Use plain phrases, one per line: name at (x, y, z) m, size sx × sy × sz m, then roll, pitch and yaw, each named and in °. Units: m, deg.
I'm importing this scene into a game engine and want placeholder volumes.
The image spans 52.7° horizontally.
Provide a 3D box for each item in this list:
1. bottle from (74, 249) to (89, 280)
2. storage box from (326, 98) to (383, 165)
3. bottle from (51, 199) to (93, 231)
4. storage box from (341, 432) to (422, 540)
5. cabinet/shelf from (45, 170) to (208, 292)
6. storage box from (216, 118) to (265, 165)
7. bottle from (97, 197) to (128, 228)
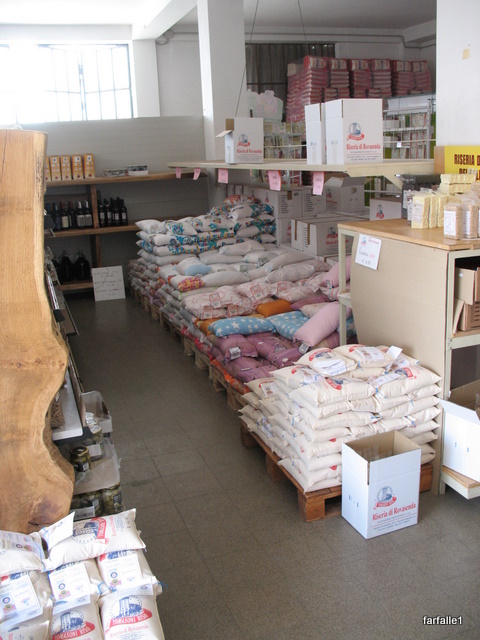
bottle at (-2.178, -0.746, 6.666) m, size 0.217 × 0.380 × 0.312 m, roll -10°, pitch 13°, yaw -17°
storage box at (0.594, -0.961, 2.469) m, size 0.354 × 0.381 × 0.207 m, roll -6°, pitch 9°, yaw -21°
bottle at (-2.268, -1.396, 6.456) m, size 0.610 × 0.384 × 0.453 m, roll -8°, pitch 13°, yaw -8°
storage box at (0.568, 0.647, 1.932) m, size 0.286 × 0.321 × 0.203 m, roll -8°, pitch 13°, yaw -29°
cabinet/shelf at (-1.578, -1.235, 6.887) m, size 2.178 × 1.496 × 0.883 m, roll -11°, pitch 13°, yaw -22°
storage box at (0.030, -1.442, 3.908) m, size 0.326 × 0.349 × 0.232 m, roll -5°, pitch 13°, yaw 5°
bottle at (-1.728, -1.449, 6.530) m, size 0.373 × 0.379 × 0.278 m, roll -5°, pitch 13°, yaw 3°
